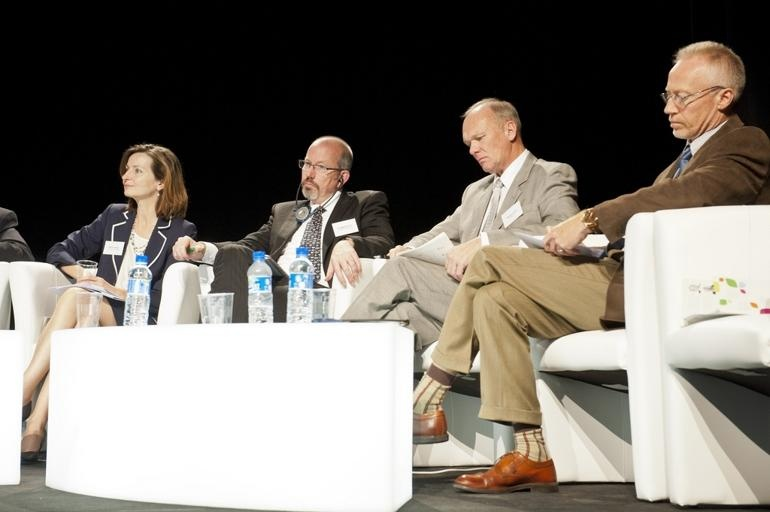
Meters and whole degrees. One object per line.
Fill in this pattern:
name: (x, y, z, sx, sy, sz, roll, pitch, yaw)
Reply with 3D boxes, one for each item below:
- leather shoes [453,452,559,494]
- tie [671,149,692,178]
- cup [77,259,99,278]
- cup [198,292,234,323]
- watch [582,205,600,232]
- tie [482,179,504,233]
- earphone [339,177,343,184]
leather shoes: (0.426, 0.743, 2.534, 0.357, 0.149, 0.140, 2, -12, -4)
tie: (1.108, -0.348, 2.717, 0.031, 0.127, 0.036, 19, -17, 35)
cup: (-1.422, 0.055, 3.509, 0.095, 0.077, 0.102, 4, -2, 0)
cup: (-0.565, 0.170, 2.430, 0.105, 0.080, 0.100, -1, -4, 0)
watch: (0.715, -0.135, 2.561, 0.046, 0.075, 0.058, -1, -38, 1)
tie: (0.510, -0.270, 3.353, 0.058, 0.347, 0.039, 3, -29, 29)
earphone: (-0.248, -0.429, 4.147, 0.008, 0.030, 0.022, -6, -5, 32)
